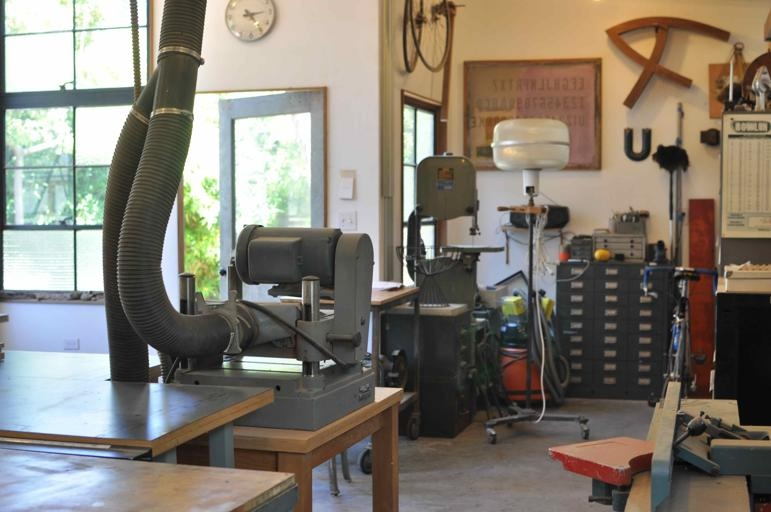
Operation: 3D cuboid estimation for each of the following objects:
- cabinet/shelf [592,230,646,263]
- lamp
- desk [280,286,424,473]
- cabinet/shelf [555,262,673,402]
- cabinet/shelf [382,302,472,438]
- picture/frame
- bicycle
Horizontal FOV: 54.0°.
[{"bbox_3d":[2.182,-0.087,7.032,0.479,0.276,0.245,2,8,14],"label":"cabinet/shelf"},{"bbox_3d":[1.198,0.028,6.018,0.765,2.087,0.670,0,-8,28],"label":"lamp"},{"bbox_3d":[-0.372,0.740,5.532,0.928,1.544,1.216,0,-1,11],"label":"desk"},{"bbox_3d":[2.091,0.707,6.762,1.240,1.517,0.535,0,0,7],"label":"cabinet/shelf"},{"bbox_3d":[0.371,0.878,6.202,0.611,0.942,0.713,3,2,17],"label":"cabinet/shelf"},{"bbox_3d":[1.442,-1.377,7.125,1.369,1.090,0.106,0,-1,5],"label":"picture/frame"},{"bbox_3d":[1.851,0.370,4.718,0.372,0.670,0.723,3,19,17],"label":"bicycle"}]
